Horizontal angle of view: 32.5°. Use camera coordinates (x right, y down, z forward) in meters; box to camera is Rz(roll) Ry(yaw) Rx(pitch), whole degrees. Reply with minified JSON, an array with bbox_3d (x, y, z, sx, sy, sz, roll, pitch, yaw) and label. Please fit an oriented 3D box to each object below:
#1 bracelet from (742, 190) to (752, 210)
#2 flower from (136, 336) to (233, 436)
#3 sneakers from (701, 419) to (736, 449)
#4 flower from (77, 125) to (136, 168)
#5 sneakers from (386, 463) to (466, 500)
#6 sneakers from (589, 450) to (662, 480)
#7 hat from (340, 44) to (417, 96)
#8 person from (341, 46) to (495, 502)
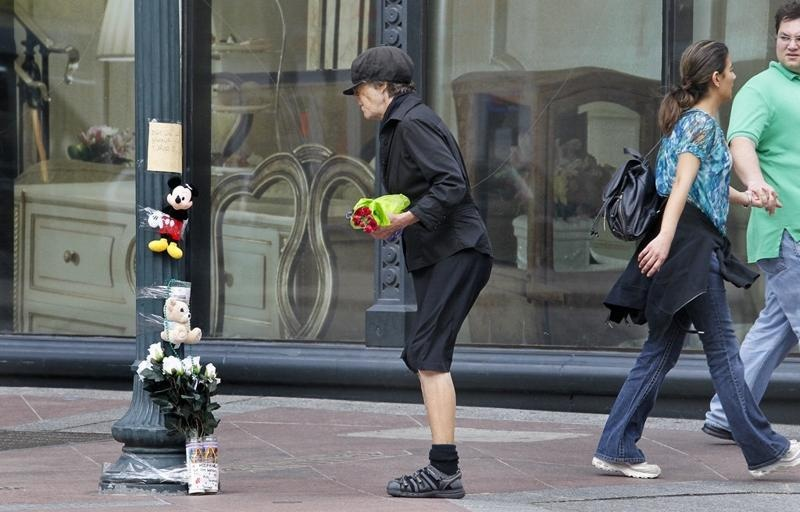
[{"bbox_3d":[2.586,-0.415,10.228,0.043,0.097,0.078,2,2,-3],"label":"bracelet"},{"bbox_3d":[-1.573,0.975,9.773,0.552,0.651,0.251,-1,10,-10],"label":"flower"},{"bbox_3d":[2.562,1.436,11.040,0.312,0.118,0.118,25,7,11],"label":"sneakers"},{"bbox_3d":[-2.825,-1.058,13.375,0.484,0.231,0.391,2,6,-13],"label":"flower"},{"bbox_3d":[0.191,1.628,9.864,0.628,0.242,0.212,3,-3,3],"label":"sneakers"},{"bbox_3d":[1.682,1.581,10.333,0.543,0.215,0.183,-1,4,6],"label":"sneakers"},{"bbox_3d":[-0.159,-1.354,9.953,0.436,0.221,0.291,2,6,11],"label":"hat"},{"bbox_3d":[0.135,0.101,9.857,0.952,3.168,0.821,3,10,15],"label":"person"}]
